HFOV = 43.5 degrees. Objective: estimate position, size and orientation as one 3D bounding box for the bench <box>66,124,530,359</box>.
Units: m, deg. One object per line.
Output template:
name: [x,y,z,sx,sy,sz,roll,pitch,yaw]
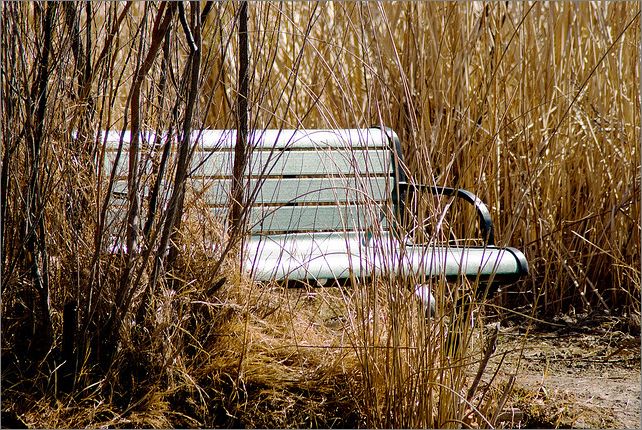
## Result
bench: [0.000,-0.083,2.798,1.470,0.609,1.251,7,13,4]
